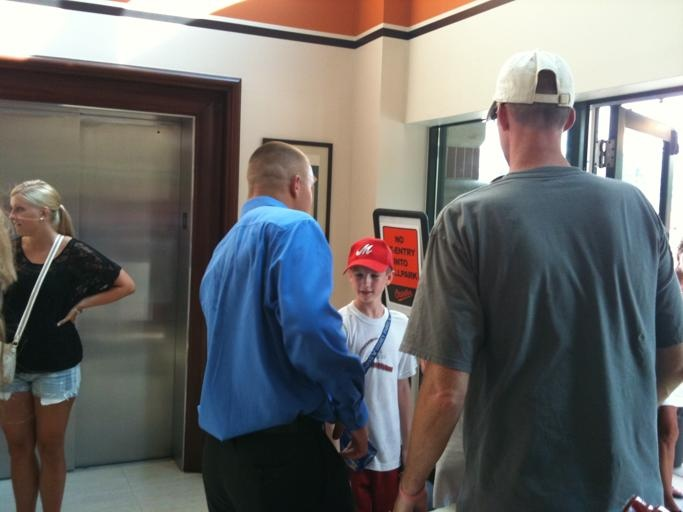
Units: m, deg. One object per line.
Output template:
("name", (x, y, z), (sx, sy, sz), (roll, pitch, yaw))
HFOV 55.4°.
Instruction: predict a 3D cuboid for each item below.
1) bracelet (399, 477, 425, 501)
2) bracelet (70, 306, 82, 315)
("bracelet", (0.229, 0.770, 2.156), (0.084, 0.104, 0.118), (3, -24, 2))
("bracelet", (-1.506, 0.308, 3.706), (0.032, 0.046, 0.056), (27, 9, 39))
